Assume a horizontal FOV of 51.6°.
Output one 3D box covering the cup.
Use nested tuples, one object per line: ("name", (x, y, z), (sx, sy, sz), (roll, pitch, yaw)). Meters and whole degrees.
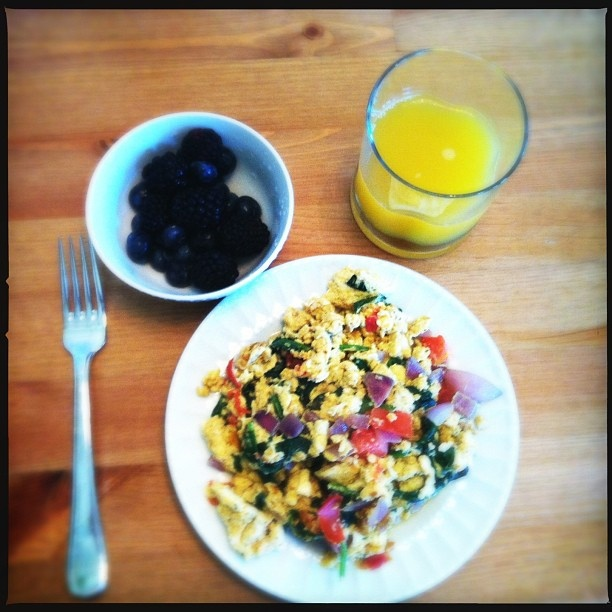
("cup", (0.289, -0.360, 1.472), (0.347, 0.312, 0.440), (29, 84, 1))

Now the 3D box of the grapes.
("grapes", (-0.258, -0.194, 1.400), (0.337, 0.135, 0.381), (-13, 91, -6))
